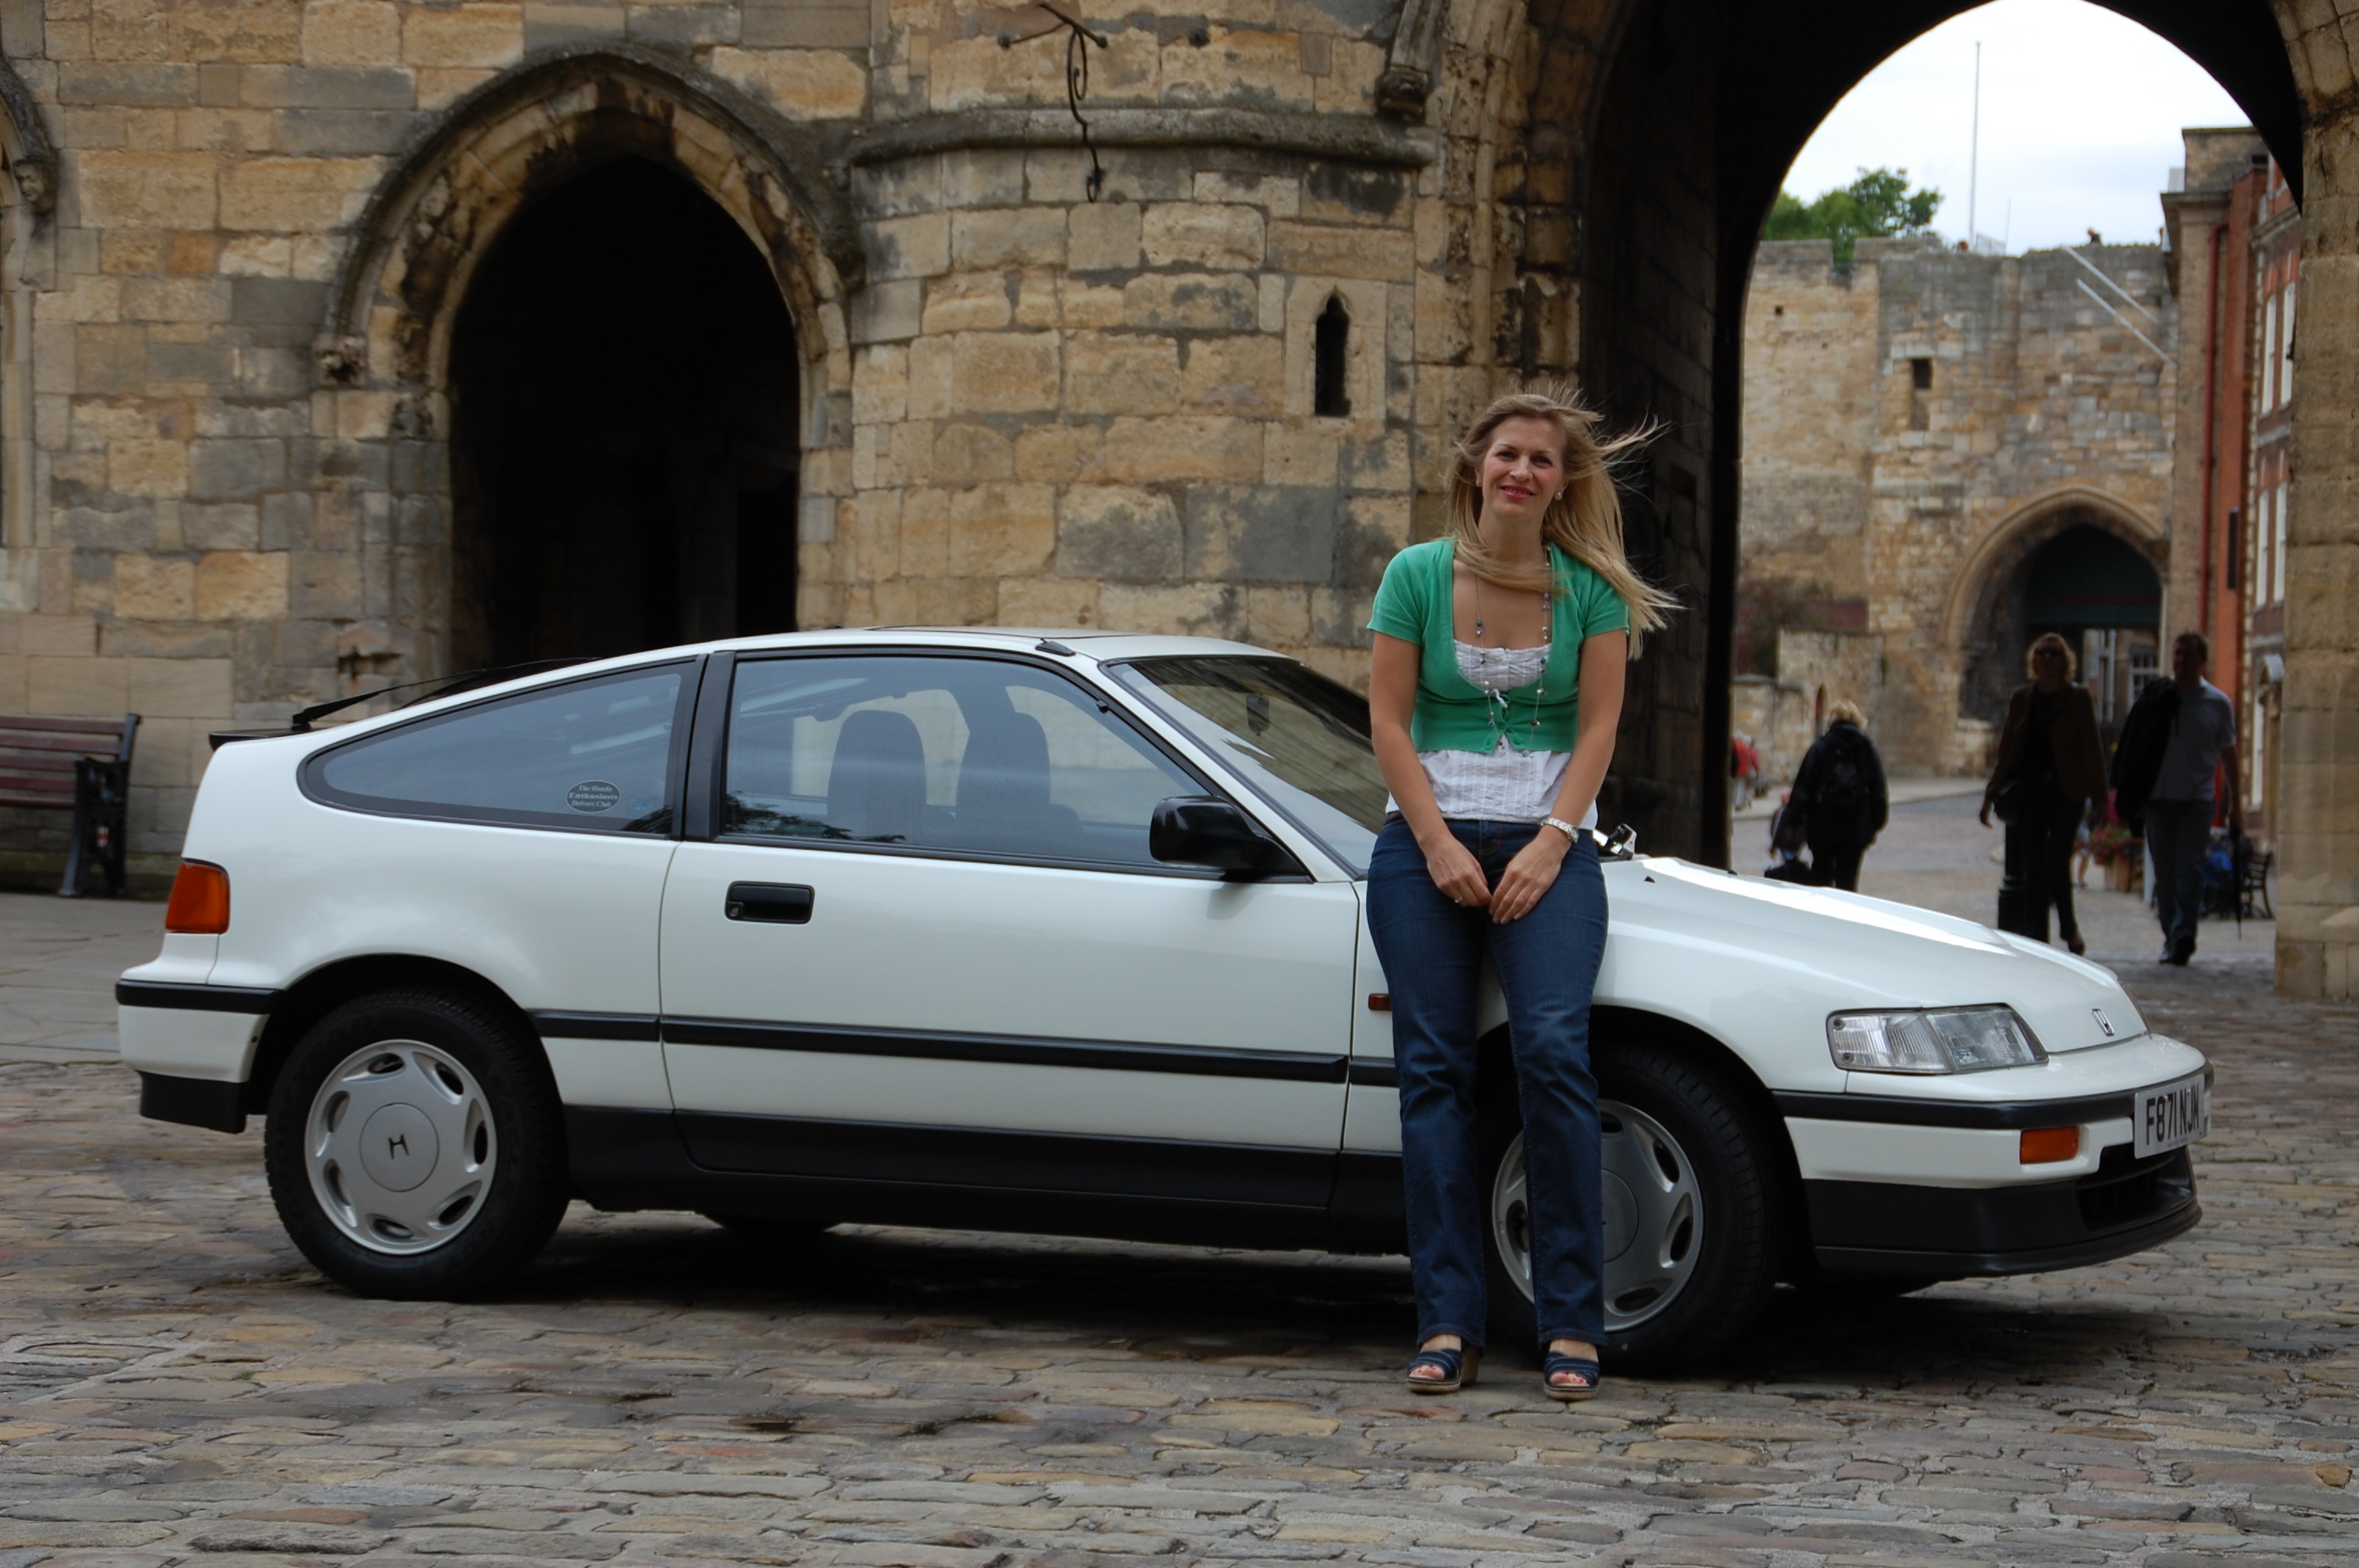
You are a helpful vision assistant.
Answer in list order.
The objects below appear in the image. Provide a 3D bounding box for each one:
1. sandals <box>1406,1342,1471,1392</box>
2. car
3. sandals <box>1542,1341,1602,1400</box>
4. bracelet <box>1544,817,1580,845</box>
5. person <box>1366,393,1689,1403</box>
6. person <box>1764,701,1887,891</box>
[{"bbox_3d":[0.764,1.709,8.460,0.093,0.095,0.257,-4,-8,26],"label":"sandals"},{"bbox_3d":[0.048,0.640,9.615,6.247,1.860,2.607,-1,-2,16],"label":"car"},{"bbox_3d":[1.148,1.701,8.395,0.177,0.126,0.496,-1,-1,4],"label":"sandals"},{"bbox_3d":[1.139,0.138,8.567,0.089,0.044,0.074,10,5,-1],"label":"bracelet"},{"bbox_3d":[0.971,0.304,8.639,0.818,2.912,0.817,1,6,8],"label":"person"},{"bbox_3d":[4.574,0.283,20.146,0.758,1.643,0.613,6,9,13],"label":"person"}]
